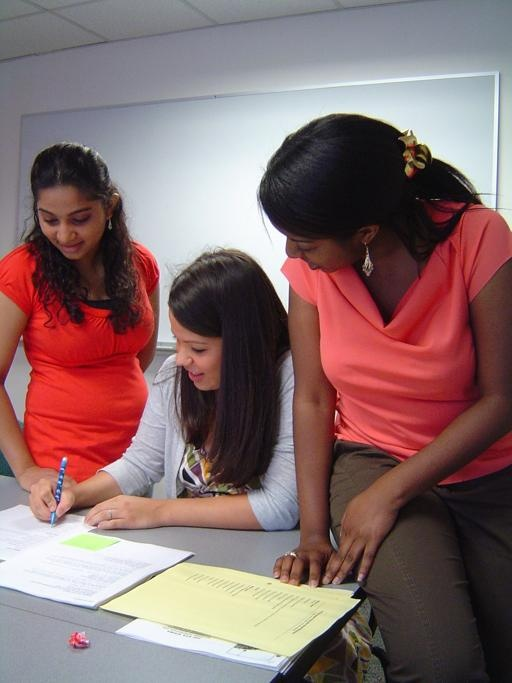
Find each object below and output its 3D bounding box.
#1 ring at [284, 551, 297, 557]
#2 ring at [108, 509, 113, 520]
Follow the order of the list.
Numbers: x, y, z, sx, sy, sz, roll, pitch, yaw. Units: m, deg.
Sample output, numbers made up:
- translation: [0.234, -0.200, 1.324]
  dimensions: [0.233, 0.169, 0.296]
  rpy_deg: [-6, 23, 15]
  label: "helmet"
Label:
- translation: [0.060, 0.363, 0.985]
  dimensions: [0.018, 0.009, 0.022]
  rpy_deg: [-16, -34, 20]
  label: "ring"
- translation: [-0.288, 0.340, 1.135]
  dimensions: [0.012, 0.014, 0.006]
  rpy_deg: [1, -4, -3]
  label: "ring"
